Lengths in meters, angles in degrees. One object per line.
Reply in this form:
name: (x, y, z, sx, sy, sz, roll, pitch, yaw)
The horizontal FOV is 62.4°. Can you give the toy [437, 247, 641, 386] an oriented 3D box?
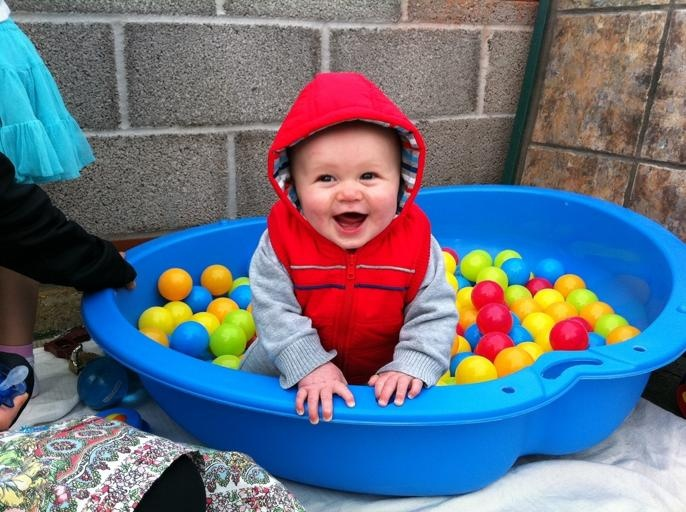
toy: (0.644, 0.209, 1.976, 0.574, 0.139, 0.507, -6, 21, -15)
